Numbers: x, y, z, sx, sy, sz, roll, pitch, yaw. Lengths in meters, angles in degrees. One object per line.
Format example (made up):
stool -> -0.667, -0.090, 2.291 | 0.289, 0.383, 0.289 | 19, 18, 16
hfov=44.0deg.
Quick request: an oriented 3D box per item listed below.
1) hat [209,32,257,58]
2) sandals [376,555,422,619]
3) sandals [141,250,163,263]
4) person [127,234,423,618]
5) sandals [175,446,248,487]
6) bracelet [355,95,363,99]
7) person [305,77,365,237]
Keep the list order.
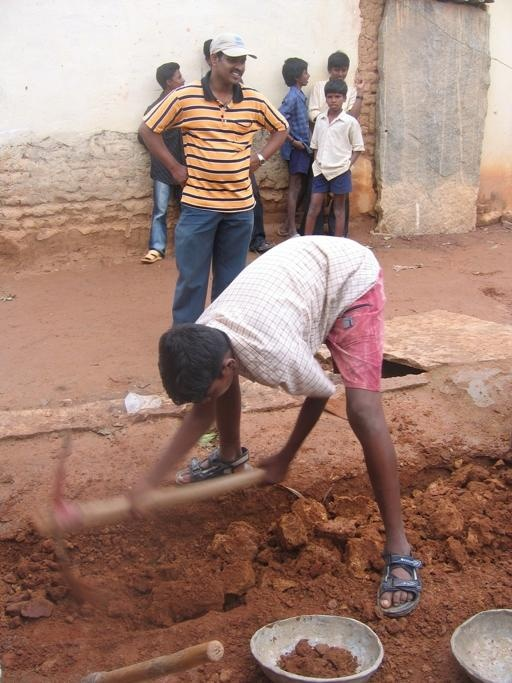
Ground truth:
hat -> -0.185, -1.549, 3.299 | 0.288, 0.128, 0.195 | 21, 35, 36
sandals -> 0.461, 0.751, 2.027 | 0.136, 0.115, 0.311 | 0, 4, 15
sandals -> -0.978, -0.786, 5.948 | 0.099, 0.073, 0.196 | -3, 9, 8
person -> 0.102, 0.232, 2.053 | 0.888, 1.090, 0.602 | 2, 21, 6
sandals -> -0.177, 0.488, 2.452 | 0.342, 0.126, 0.117 | -13, 1, 0
bracelet -> 1.011, -2.404, 6.237 | 0.068, 0.016, 0.071 | 10, 18, 39
person -> 0.695, -1.650, 5.801 | 0.503, 1.366, 0.367 | 7, 22, 18
